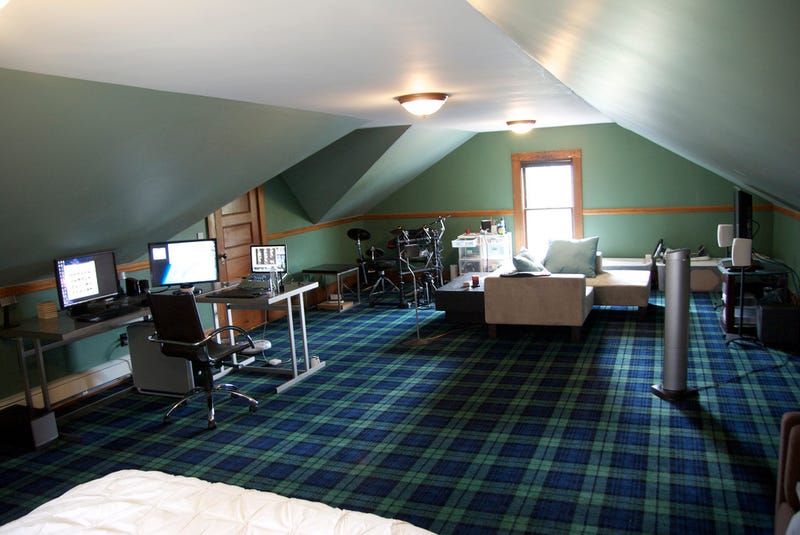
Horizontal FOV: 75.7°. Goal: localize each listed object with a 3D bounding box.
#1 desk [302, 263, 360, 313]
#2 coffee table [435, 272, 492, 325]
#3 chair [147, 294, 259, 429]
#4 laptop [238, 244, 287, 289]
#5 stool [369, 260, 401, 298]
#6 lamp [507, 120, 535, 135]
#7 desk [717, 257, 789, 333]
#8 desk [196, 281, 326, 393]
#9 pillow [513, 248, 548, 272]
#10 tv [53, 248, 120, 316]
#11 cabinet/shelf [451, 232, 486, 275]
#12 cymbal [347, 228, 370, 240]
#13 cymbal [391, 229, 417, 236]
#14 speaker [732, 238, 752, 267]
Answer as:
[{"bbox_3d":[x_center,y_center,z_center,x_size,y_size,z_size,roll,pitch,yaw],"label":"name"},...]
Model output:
[{"bbox_3d":[-1.090,0.274,8.683,0.943,0.808,0.811,0,6,18],"label":"desk"},{"bbox_3d":[0.835,0.457,7.071,0.600,0.283,0.856,1,8,16],"label":"coffee table"},{"bbox_3d":[-1.945,0.783,4.989,0.850,1.270,1.011,-10,15,-24],"label":"chair"},{"bbox_3d":[-1.517,-0.057,5.768,0.598,0.408,0.469,1,6,7],"label":"laptop"},{"bbox_3d":[-0.356,0.156,9.439,0.701,0.860,0.662,-3,9,2],"label":"stool"},{"bbox_3d":[1.717,-2.043,7.394,0.358,0.145,0.393,-4,13,1],"label":"lamp"},{"bbox_3d":[4.159,0.336,6.051,0.644,0.587,0.925,-2,3,19],"label":"desk"},{"bbox_3d":[-1.638,0.657,6.004,1.538,1.182,1.205,1,5,23],"label":"desk"},{"bbox_3d":[1.685,-0.057,6.730,0.339,0.225,0.621,5,6,19],"label":"pillow"},{"bbox_3d":[-3.107,0.144,5.052,0.254,0.589,0.645,2,9,29],"label":"tv"},{"bbox_3d":[1.202,-0.228,8.771,0.508,0.681,0.496,0,14,17],"label":"cabinet/shelf"},{"bbox_3d":[-0.672,-0.560,8.784,0.306,0.211,0.298,3,15,29],"label":"cymbal"},{"bbox_3d":[0.061,-0.579,8.468,0.254,0.055,0.224,7,-7,-39],"label":"cymbal"},{"bbox_3d":[3.718,-0.165,5.602,0.162,0.312,0.240,7,17,38],"label":"speaker"}]
